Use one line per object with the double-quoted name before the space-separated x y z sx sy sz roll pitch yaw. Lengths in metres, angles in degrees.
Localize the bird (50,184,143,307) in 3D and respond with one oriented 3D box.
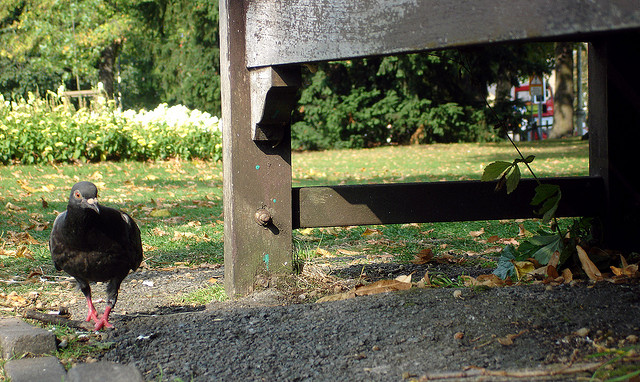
"bird" -2.285 0.559 7.186 0.905 1.399 1.644 -4 7 -13
